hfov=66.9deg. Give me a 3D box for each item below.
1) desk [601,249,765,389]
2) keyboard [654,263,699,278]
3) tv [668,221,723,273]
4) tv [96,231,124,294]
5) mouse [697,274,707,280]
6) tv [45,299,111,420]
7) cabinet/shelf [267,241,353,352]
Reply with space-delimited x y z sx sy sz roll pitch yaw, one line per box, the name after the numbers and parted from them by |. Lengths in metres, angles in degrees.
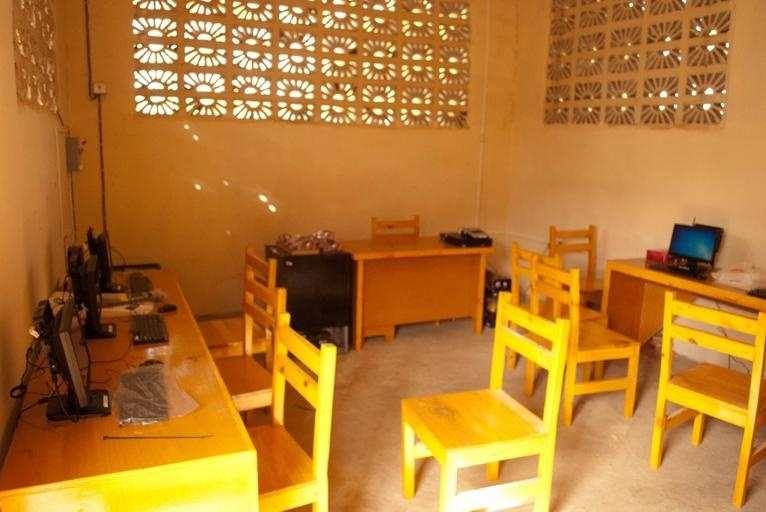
2.361 0.565 4.795 0.682 0.732 1.253 -11 21 -30 | desk
2.339 0.112 4.616 0.156 0.035 0.147 -15 23 -42 | keyboard
2.549 -0.059 4.730 0.163 0.352 0.368 6 9 -33 | tv
-2.049 0.040 4.342 0.151 0.444 0.241 -10 56 -19 | tv
2.472 0.162 4.497 0.049 0.013 0.046 -6 14 -8 | mouse
-1.509 0.527 2.848 0.297 0.488 0.400 -2 23 -18 | tv
-0.627 0.300 5.378 0.855 1.153 0.798 -4 18 -18 | cabinet/shelf
